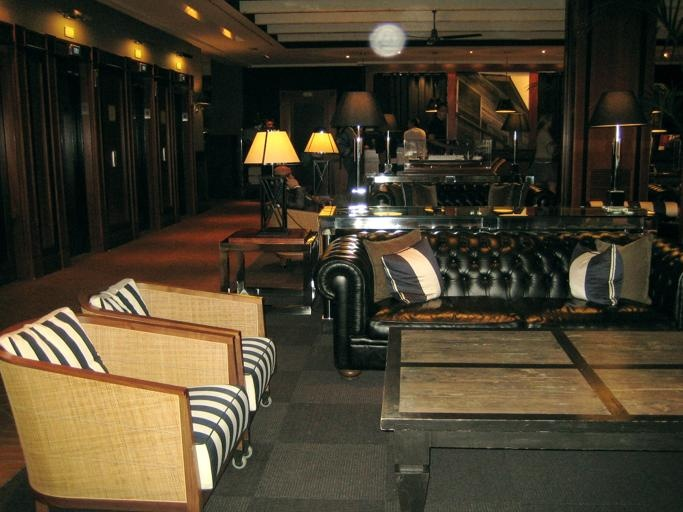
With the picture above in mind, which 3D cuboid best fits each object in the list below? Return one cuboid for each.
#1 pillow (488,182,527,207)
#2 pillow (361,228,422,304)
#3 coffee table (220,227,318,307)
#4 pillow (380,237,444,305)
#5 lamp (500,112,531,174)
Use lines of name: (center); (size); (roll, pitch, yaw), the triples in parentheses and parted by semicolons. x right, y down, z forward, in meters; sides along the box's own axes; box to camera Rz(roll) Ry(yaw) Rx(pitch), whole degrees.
pillow: (1.879, -0.700, 6.555); (0.378, 0.245, 0.626); (2, 9, 9)
pillow: (0.343, 0.070, 4.130); (0.164, 0.433, 0.559); (-24, -14, 38)
coffee table: (-0.652, 0.105, 5.403); (0.961, 0.600, 0.825); (0, 8, 4)
pillow: (0.534, 0.130, 4.149); (0.369, 0.413, 0.613); (7, 23, 33)
lamp: (3.662, -2.458, 12.115); (0.645, 1.269, 4.203); (3, 10, 16)
